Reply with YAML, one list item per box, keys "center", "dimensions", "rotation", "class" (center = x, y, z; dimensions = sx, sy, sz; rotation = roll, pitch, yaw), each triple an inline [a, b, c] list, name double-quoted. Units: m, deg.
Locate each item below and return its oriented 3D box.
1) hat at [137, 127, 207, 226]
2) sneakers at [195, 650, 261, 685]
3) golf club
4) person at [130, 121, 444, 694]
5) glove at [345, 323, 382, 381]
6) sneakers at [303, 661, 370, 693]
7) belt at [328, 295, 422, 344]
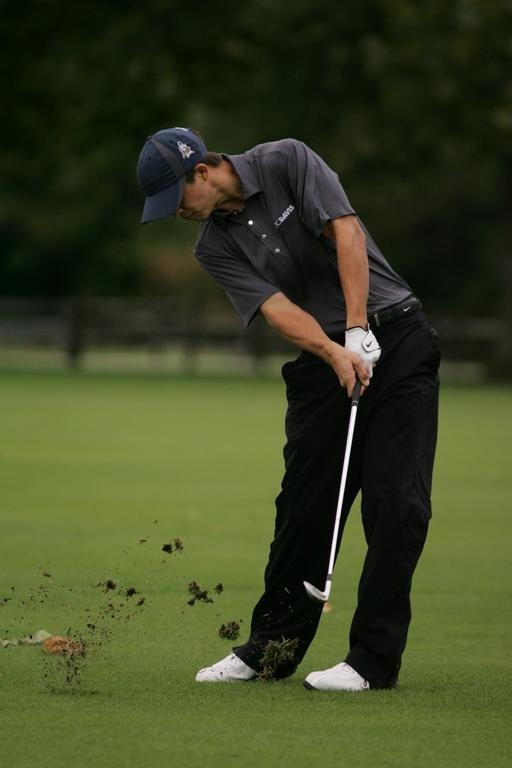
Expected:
- center: [-0.217, -0.534, 2.338]
  dimensions: [0.173, 0.261, 0.198]
  rotation: [4, 8, -11]
  class: "hat"
- center: [-0.075, 0.747, 2.420]
  dimensions: [0.159, 0.057, 0.067]
  rotation: [1, 8, -19]
  class: "sneakers"
- center: [0.189, 0.288, 2.325]
  dimensions: [0.084, 0.606, 0.305]
  rotation: [7, 9, 5]
  class: "golf club"
- center: [0.091, 0.077, 2.411]
  dimensions: [0.787, 1.438, 0.377]
  rotation: [8, 9, 16]
  class: "person"
- center: [0.259, -0.075, 2.198]
  dimensions: [0.048, 0.112, 0.098]
  rotation: [-26, 2, 39]
  class: "glove"
- center: [0.201, 0.733, 2.302]
  dimensions: [0.138, 0.049, 0.074]
  rotation: [3, -6, 2]
  class: "sneakers"
- center: [0.313, -0.169, 2.373]
  dimensions: [0.182, 0.049, 0.132]
  rotation: [-22, -1, 7]
  class: "belt"
